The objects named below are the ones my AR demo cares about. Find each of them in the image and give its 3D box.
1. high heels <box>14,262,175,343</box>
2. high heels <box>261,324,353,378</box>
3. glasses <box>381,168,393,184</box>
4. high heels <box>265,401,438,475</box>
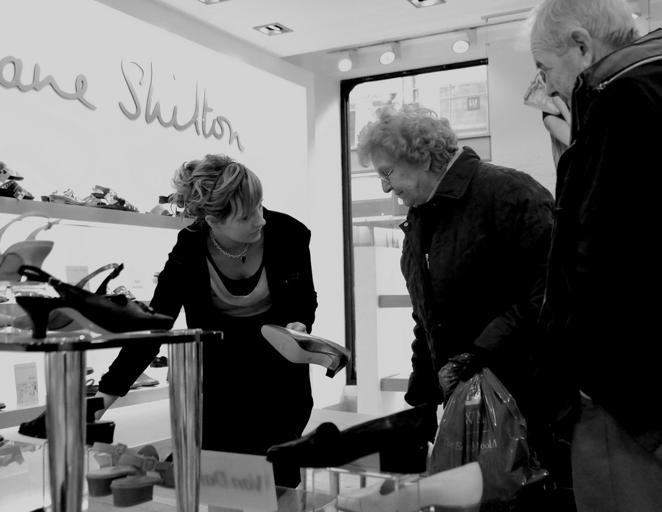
[{"bbox_3d":[-0.407,0.083,1.200,0.305,0.157,0.111,0,-1,-26],"label":"high heels"},{"bbox_3d":[-0.055,0.221,1.510,0.199,0.122,0.129,-2,1,-4],"label":"high heels"},{"bbox_3d":[0.178,-0.256,2.062,0.023,0.015,0.060,30,-26,8],"label":"glasses"},{"bbox_3d":[0.026,0.380,1.374,0.366,0.158,0.129,-5,-6,20],"label":"high heels"}]
